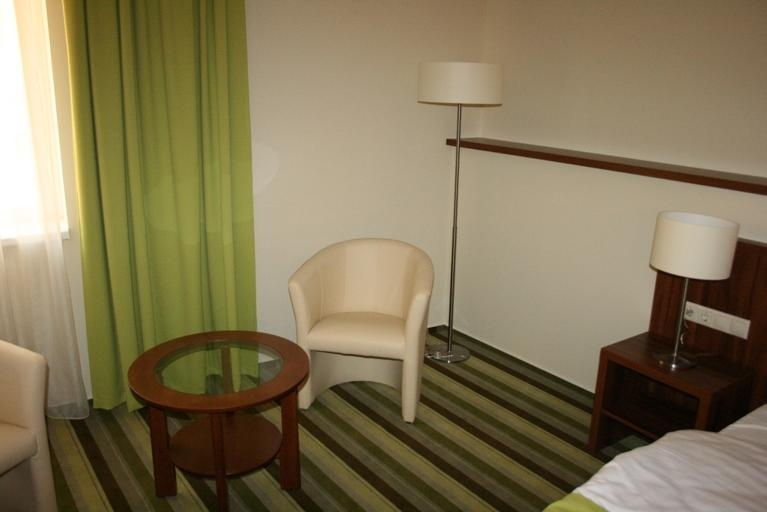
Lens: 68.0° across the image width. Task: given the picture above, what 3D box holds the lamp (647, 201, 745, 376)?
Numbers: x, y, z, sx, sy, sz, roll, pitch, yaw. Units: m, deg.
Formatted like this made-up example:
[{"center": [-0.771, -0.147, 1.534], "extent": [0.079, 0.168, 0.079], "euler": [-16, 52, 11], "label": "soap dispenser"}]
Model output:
[{"center": [1.869, 0.194, 3.518], "extent": [0.501, 0.898, 0.419], "euler": [-17, 25, -40], "label": "lamp"}]

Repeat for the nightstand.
[{"center": [1.685, 0.967, 3.659], "extent": [0.427, 0.578, 0.554], "euler": [-7, 7, -21], "label": "nightstand"}]

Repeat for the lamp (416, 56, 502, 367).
[{"center": [0.596, -0.357, 4.779], "extent": [0.643, 2.408, 0.752], "euler": [3, 19, 9], "label": "lamp"}]

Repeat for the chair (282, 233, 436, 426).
[{"center": [-0.262, 0.550, 4.599], "extent": [1.345, 1.406, 1.204], "euler": [3, 15, 13], "label": "chair"}]

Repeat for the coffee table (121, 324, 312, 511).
[{"center": [-0.975, 1.144, 3.678], "extent": [1.031, 0.751, 1.024], "euler": [-15, 29, -35], "label": "coffee table"}]
